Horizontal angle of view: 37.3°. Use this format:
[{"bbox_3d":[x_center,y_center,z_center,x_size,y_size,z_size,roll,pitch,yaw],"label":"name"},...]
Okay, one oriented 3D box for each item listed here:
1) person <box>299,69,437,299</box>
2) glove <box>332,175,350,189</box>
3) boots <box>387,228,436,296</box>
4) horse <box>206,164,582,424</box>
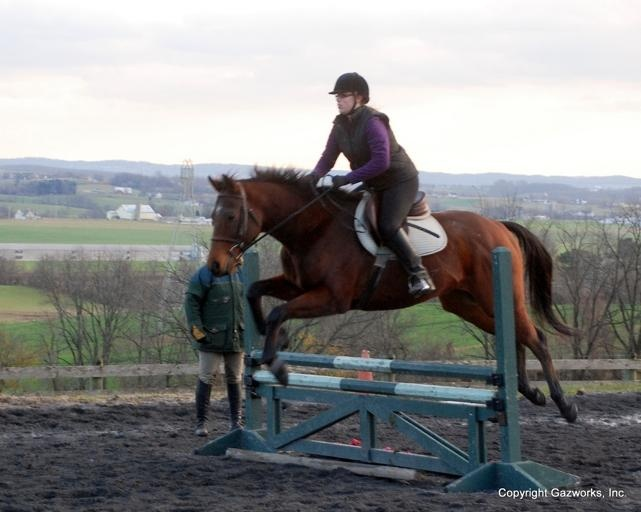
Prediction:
[{"bbox_3d":[0.535,-0.766,10.233,1.304,2.384,0.568,-1,4,8],"label":"person"},{"bbox_3d":[0.186,-0.789,10.124,0.134,0.133,0.061,-1,18,11],"label":"glove"},{"bbox_3d":[0.958,0.075,10.057,0.440,0.725,0.231,-1,4,5],"label":"boots"},{"bbox_3d":[0.767,0.473,10.589,4.552,2.325,0.983,4,-9,-24],"label":"horse"}]
